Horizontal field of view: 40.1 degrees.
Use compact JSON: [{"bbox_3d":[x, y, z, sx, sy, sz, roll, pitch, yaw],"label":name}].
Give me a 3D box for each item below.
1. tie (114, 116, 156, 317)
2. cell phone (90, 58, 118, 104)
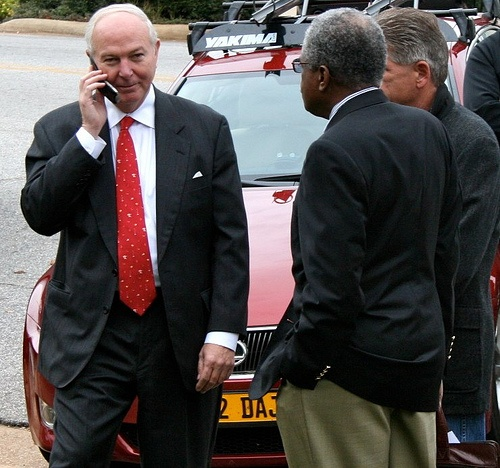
[{"bbox_3d":[-0.417,-0.047,2.431,0.123,0.603,0.268,-4,17,-15],"label":"tie"},{"bbox_3d":[-0.505,-0.539,2.398,0.196,0.032,0.049,51,4,25],"label":"cell phone"}]
